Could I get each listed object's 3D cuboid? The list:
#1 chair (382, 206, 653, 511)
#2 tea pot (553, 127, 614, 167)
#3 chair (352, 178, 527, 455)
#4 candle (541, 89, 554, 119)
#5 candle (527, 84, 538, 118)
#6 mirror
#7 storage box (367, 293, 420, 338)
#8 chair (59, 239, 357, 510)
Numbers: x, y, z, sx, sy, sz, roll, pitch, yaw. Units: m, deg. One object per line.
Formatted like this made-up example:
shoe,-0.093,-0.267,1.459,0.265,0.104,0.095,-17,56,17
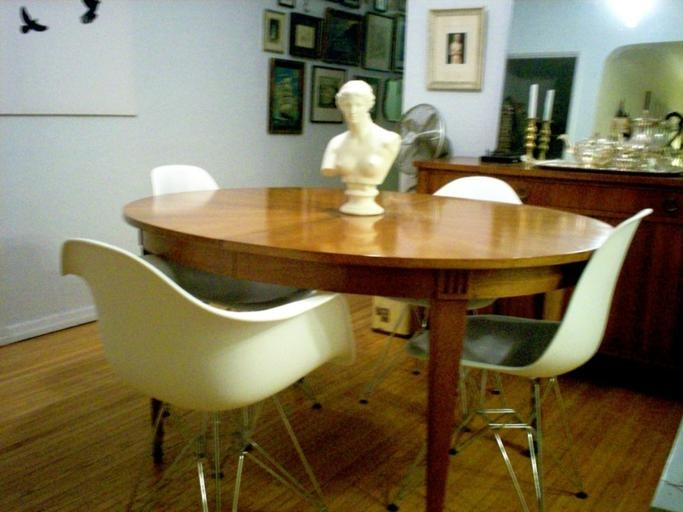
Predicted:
chair,0.629,0.257,2.534,1.190,1.605,0.974,6,8,27
tea pot,1.299,-0.579,2.771,0.207,0.121,0.292,-10,14,-43
chair,0.322,0.086,3.036,0.946,1.441,1.088,5,4,44
candle,1.207,-0.875,3.101,0.055,0.174,0.099,6,18,17
candle,1.118,-0.900,3.111,0.059,0.194,0.175,6,18,18
mirror,1.146,-0.908,3.123,0.426,0.047,0.690,6,62,16
storage box,0.331,0.340,3.313,0.283,0.263,0.209,2,5,32
chair,-0.429,0.434,1.795,0.745,0.931,0.687,11,18,36
